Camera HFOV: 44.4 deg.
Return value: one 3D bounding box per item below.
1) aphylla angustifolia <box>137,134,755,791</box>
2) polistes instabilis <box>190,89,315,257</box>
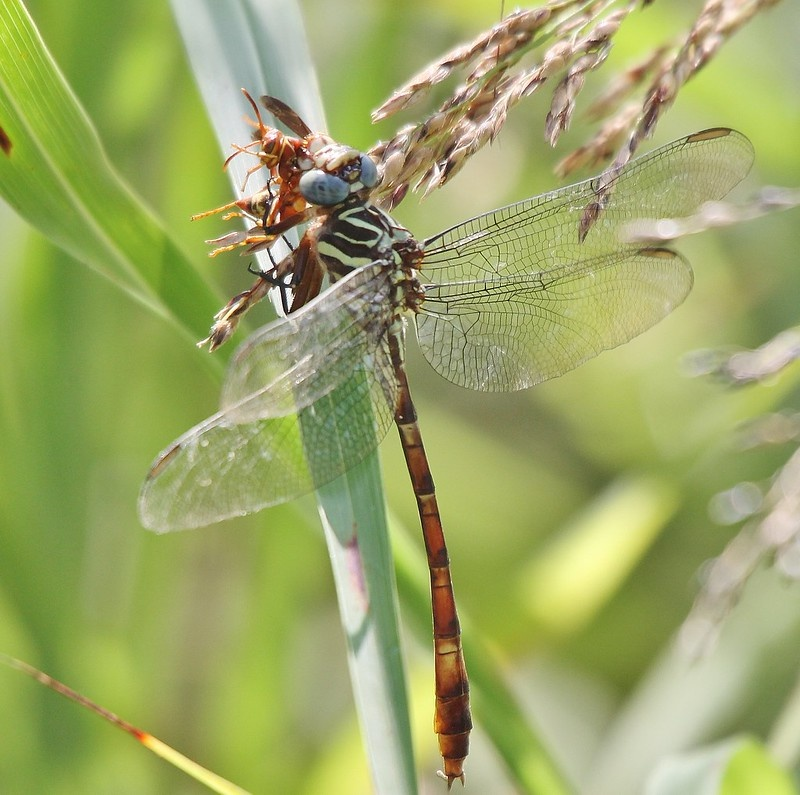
[{"bbox_3d":[0.098,0.216,2.432,0.870,1.730,1.614,3,-36,7],"label":"aphylla angustifolia"},{"bbox_3d":[-0.244,-0.422,1.843,0.268,0.362,0.281,3,-80,-38],"label":"polistes instabilis"}]
